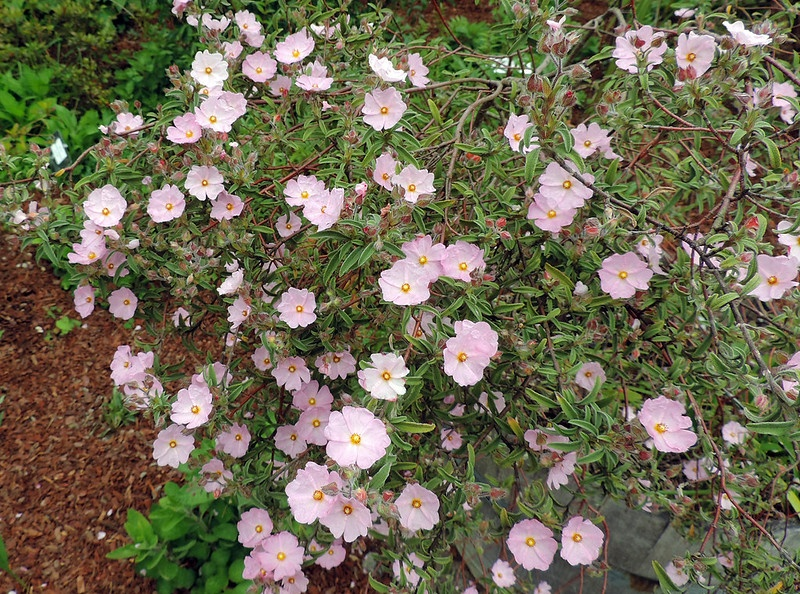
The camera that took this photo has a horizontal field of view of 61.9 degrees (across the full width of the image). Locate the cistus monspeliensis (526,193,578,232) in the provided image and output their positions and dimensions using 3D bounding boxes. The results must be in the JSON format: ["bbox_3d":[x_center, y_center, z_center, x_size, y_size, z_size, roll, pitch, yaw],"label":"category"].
[{"bbox_3d":[0.670,-0.370,3.015,0.169,0.062,0.190,-4,112,38],"label":"cistus monspeliensis"}]

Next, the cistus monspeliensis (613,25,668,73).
[{"bbox_3d":[1.084,-1.125,3.047,0.209,0.155,0.263,-5,92,20],"label":"cistus monspeliensis"}]

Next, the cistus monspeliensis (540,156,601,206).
[{"bbox_3d":[0.742,-0.520,2.935,0.254,0.232,0.085,-3,68,52],"label":"cistus monspeliensis"}]

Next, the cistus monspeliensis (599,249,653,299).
[{"bbox_3d":[1.017,-0.125,3.023,0.191,0.210,0.100,-5,64,44],"label":"cistus monspeliensis"}]

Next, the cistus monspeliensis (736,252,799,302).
[{"bbox_3d":[1.666,-0.090,2.982,0.204,0.102,0.238,-16,85,36],"label":"cistus monspeliensis"}]

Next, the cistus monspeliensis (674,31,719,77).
[{"bbox_3d":[1.353,-1.174,3.123,0.189,0.193,0.081,-6,93,9],"label":"cistus monspeliensis"}]
